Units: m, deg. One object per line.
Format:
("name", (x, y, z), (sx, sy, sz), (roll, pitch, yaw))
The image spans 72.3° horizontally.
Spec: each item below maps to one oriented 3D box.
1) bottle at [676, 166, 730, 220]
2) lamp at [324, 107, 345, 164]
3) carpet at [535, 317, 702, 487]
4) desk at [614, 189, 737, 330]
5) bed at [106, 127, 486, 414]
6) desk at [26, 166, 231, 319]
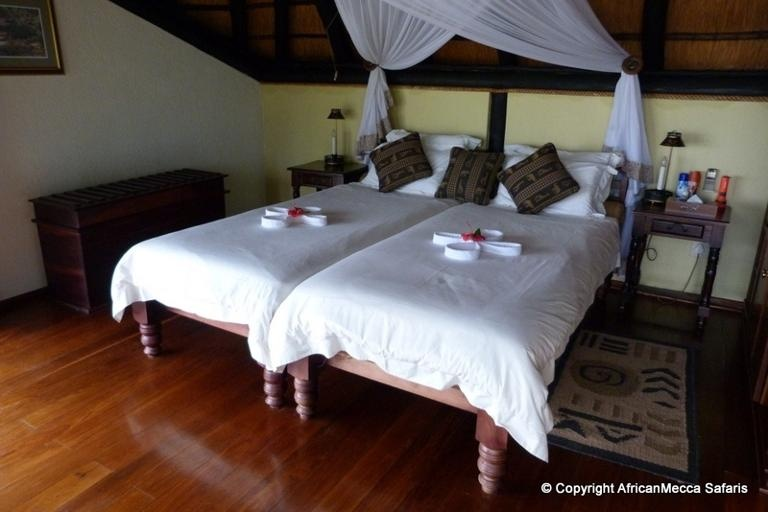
("bottle", (2.580, -0.504, 4.277), (0.385, 0.369, 0.213), (11, 22, 38))
("lamp", (-0.538, -1.284, 5.608), (0.233, 0.551, 0.229), (-4, 17, -23))
("carpet", (1.599, 0.899, 3.564), (0.825, 0.030, 1.376), (7, 26, 26))
("desk", (2.344, 0.023, 4.305), (0.697, 0.939, 0.611), (11, 22, 25))
("bed", (-0.731, 0.132, 4.090), (1.294, 0.919, 2.164), (16, 24, 34))
("desk", (-2.232, -0.250, 4.918), (0.568, 0.950, 1.578), (16, 25, 23))
